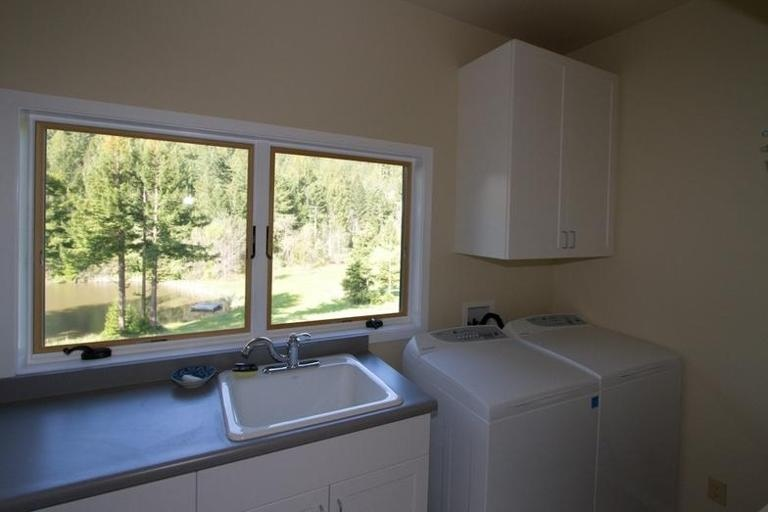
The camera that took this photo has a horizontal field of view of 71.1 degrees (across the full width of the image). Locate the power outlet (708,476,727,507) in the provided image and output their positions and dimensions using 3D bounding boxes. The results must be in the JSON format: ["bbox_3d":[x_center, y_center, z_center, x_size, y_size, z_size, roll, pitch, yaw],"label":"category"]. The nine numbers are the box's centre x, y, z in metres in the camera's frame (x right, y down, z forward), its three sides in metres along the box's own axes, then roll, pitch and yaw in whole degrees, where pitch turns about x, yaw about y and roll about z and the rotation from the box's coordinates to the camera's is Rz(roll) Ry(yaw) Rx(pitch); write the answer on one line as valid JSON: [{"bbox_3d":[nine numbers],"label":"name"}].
[{"bbox_3d":[2.038,1.435,3.273,0.106,0.156,0.014,1,3,42],"label":"power outlet"}]

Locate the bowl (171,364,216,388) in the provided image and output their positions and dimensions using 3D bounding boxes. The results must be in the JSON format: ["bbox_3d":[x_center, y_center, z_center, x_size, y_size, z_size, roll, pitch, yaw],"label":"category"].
[{"bbox_3d":[-1.058,0.671,2.965,0.237,0.099,0.149,-2,2,-18],"label":"bowl"}]
